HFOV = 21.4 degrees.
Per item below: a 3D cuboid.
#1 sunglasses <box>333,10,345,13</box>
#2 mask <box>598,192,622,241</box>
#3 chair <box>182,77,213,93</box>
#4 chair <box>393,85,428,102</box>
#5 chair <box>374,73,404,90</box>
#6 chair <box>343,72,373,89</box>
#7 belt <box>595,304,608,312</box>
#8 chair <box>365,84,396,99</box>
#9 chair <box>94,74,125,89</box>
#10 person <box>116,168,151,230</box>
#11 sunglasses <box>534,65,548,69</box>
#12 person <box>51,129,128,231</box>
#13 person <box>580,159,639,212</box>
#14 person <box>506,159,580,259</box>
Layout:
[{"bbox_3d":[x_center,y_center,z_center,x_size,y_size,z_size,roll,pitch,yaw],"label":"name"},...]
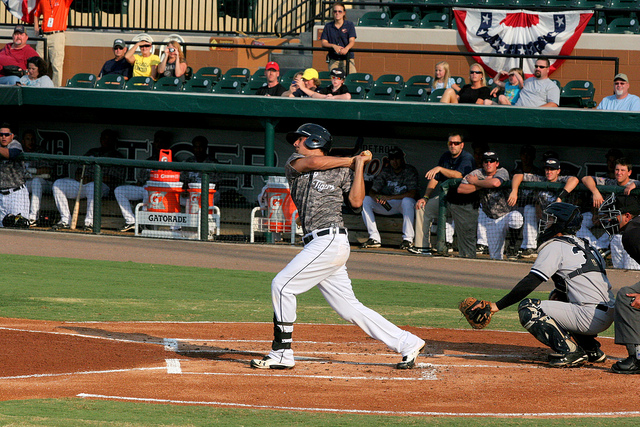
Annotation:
[{"bbox_3d":[0.316,-3.768,31.994,0.203,0.053,0.107,3,3,20],"label":"sunglasses"},{"bbox_3d":[4.894,0.090,28.465,0.379,0.670,0.521,-7,-13,-23],"label":"mask"},{"bbox_3d":[-2.356,-2.386,31.974,0.392,0.418,0.350,1,5,7],"label":"chair"},{"bbox_3d":[1.677,-2.157,31.182,0.445,0.446,0.390,2,6,14],"label":"chair"},{"bbox_3d":[1.301,-2.465,31.997,0.379,0.423,0.380,1,3,14],"label":"chair"},{"bbox_3d":[0.717,-2.489,32.082,0.408,0.474,0.371,1,14,14],"label":"chair"},{"bbox_3d":[4.155,1.398,24.933,0.120,0.112,0.028,-7,-9,14],"label":"belt"},{"bbox_3d":[1.128,-2.208,31.422,0.349,0.369,0.321,1,2,7],"label":"chair"},{"bbox_3d":[-4.024,-2.450,32.044,0.396,0.485,0.369,0,6,1],"label":"chair"},{"bbox_3d":[-3.383,-0.229,30.211,0.581,1.080,0.229,1,3,-6],"label":"person"},{"bbox_3d":[3.889,-2.570,30.060,0.245,0.045,0.120,4,3,39],"label":"sunglasses"},{"bbox_3d":[-4.235,-0.598,30.696,0.963,1.851,1.165,8,-2,13],"label":"person"},{"bbox_3d":[4.886,-0.467,28.769,0.922,0.871,0.905,2,3,9],"label":"person"},{"bbox_3d":[3.833,-0.118,28.795,1.135,1.723,0.942,14,-11,-37],"label":"person"}]
